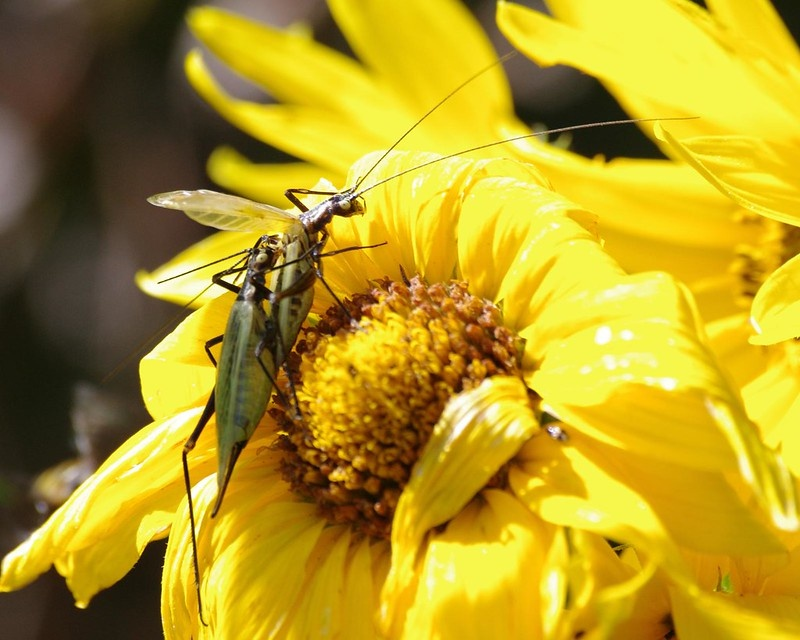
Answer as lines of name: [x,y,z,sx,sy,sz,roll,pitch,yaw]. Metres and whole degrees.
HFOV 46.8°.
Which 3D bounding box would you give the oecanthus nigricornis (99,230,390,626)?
oecanthus nigricornis: [-0.120,0.086,0.834,0.200,0.085,0.313,-8,64,49]
